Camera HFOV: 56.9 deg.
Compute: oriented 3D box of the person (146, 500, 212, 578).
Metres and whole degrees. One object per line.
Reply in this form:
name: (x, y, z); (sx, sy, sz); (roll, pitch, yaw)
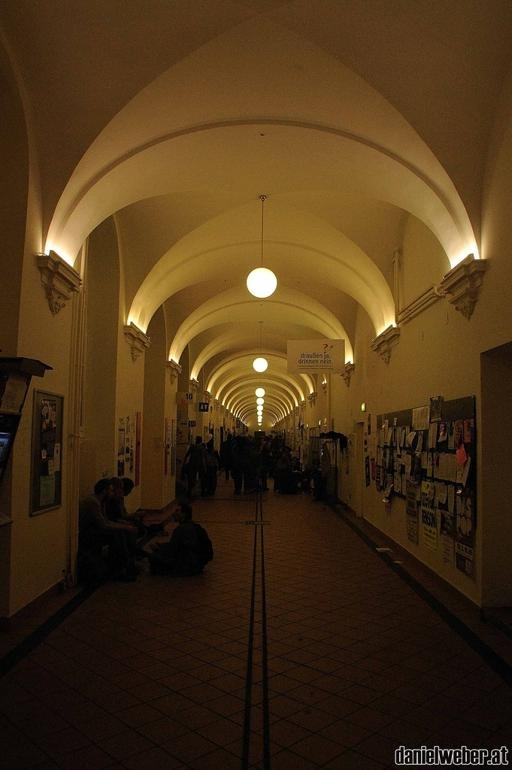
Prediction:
person: (-1.017, 2.027, 6.324); (0.597, 0.991, 0.610); (4, -2, 11)
